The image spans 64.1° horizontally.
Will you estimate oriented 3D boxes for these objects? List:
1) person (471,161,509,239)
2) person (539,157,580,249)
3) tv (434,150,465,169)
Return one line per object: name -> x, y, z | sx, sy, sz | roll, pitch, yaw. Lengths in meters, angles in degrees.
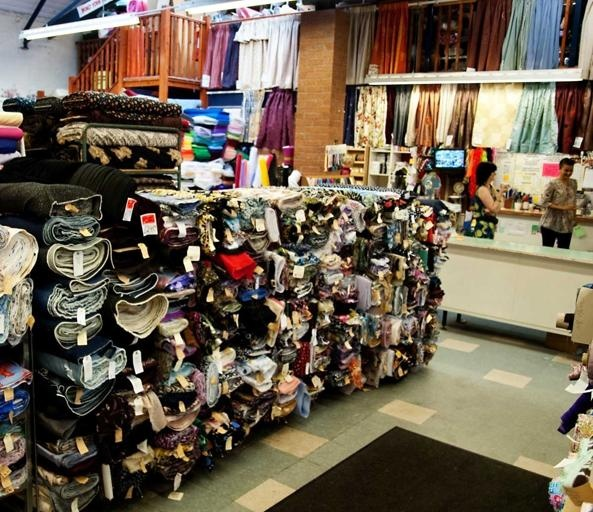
person -> 2.456, -0.737, 6.091 | 0.317, 0.939, 1.276 | 5, 10, 20
person -> 3.500, -0.705, 6.287 | 0.409, 1.188, 0.438 | 7, 10, 31
tv -> 2.372, -1.522, 7.302 | 0.492, 0.360, 0.273 | 4, 14, 19
